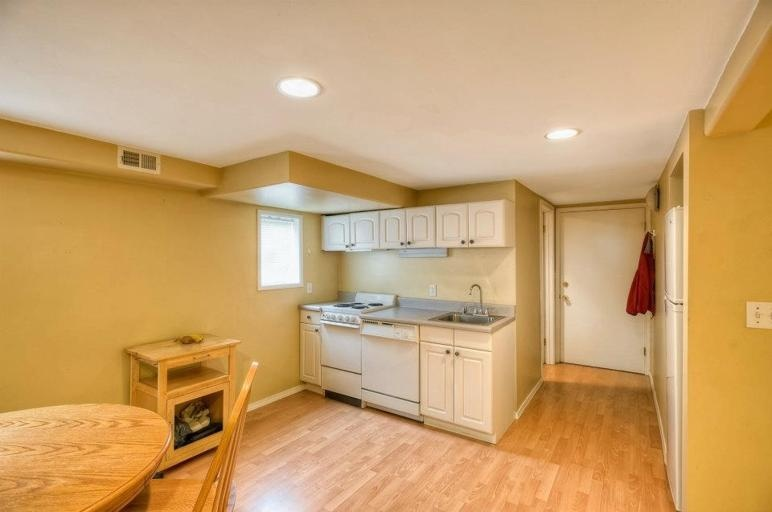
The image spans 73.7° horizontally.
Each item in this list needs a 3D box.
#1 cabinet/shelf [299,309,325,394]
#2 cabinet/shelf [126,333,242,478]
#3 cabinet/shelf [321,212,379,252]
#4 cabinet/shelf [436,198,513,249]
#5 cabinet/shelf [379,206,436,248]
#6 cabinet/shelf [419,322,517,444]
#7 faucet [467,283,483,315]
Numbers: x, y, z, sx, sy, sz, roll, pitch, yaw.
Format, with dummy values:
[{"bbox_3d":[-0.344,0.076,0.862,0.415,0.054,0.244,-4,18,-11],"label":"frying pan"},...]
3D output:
[{"bbox_3d":[-0.838,0.993,5.698,0.201,0.908,0.481,-14,20,-41],"label":"cabinet/shelf"},{"bbox_3d":[-1.785,1.233,4.520,0.554,0.913,0.801,5,6,31],"label":"cabinet/shelf"},{"bbox_3d":[-0.342,-0.269,5.955,0.875,0.409,0.321,-2,-1,36],"label":"cabinet/shelf"},{"bbox_3d":[0.888,-0.314,5.224,0.778,0.451,0.284,0,2,37],"label":"cabinet/shelf"},{"bbox_3d":[0.293,-0.292,5.612,0.683,0.416,0.358,-1,0,28],"label":"cabinet/shelf"},{"bbox_3d":[0.891,1.157,5.078,1.064,1.057,1.019,0,3,21],"label":"cabinet/shelf"},{"bbox_3d":[0.945,0.436,5.322,0.136,0.289,0.241,0,14,0],"label":"faucet"}]
